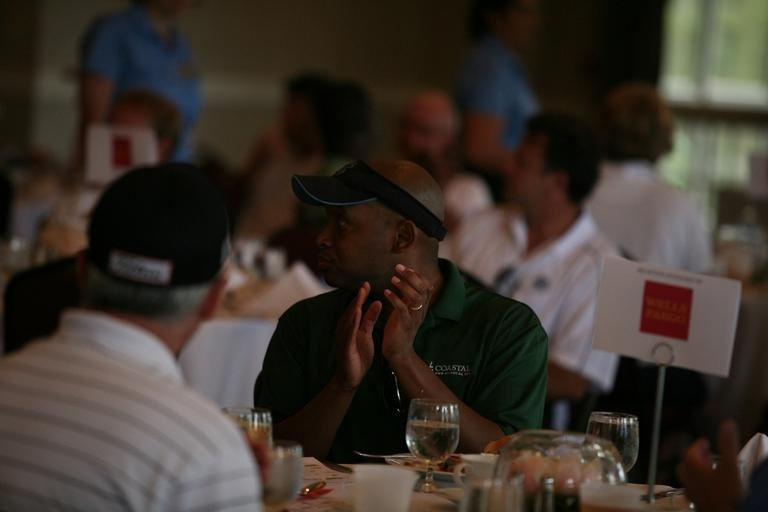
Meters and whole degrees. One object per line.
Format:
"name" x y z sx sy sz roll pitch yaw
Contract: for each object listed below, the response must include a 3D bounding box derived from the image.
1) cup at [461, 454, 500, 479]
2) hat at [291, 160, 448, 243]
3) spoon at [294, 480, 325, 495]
"cup" 0.216 0.473 1.769 0.067 0.058 0.057 1 -2 10
"hat" -0.062 -0.093 2.225 0.352 0.112 0.224 21 -4 -5
"spoon" -0.168 0.543 1.809 0.020 0.013 0.075 -25 -7 30
